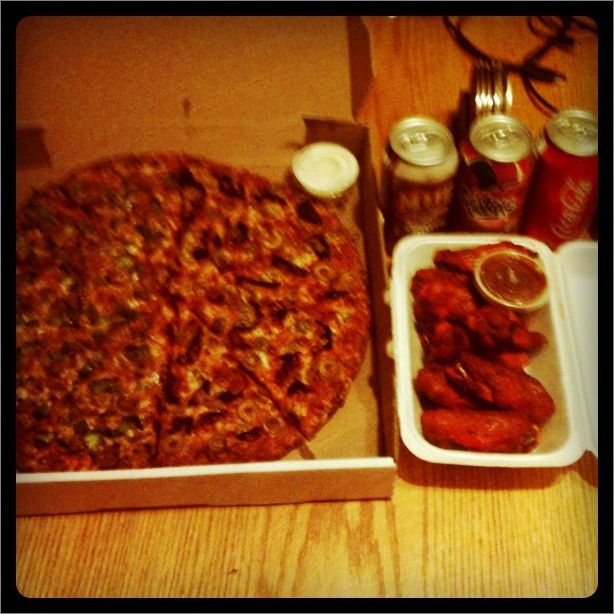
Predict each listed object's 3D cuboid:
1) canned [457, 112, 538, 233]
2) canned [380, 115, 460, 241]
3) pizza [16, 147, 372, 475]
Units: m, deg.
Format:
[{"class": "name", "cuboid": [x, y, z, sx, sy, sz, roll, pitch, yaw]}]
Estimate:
[{"class": "canned", "cuboid": [0.344, -0.231, 1.098, 0.122, 0.157, 0.125, 1, 22, 10]}, {"class": "canned", "cuboid": [0.218, -0.242, 1.074, 0.159, 0.279, 0.154, -5, 56, 5]}, {"class": "pizza", "cuboid": [-0.220, 0.001, 1.067, 0.669, 0.308, 0.526, -3, 55, 4]}]
